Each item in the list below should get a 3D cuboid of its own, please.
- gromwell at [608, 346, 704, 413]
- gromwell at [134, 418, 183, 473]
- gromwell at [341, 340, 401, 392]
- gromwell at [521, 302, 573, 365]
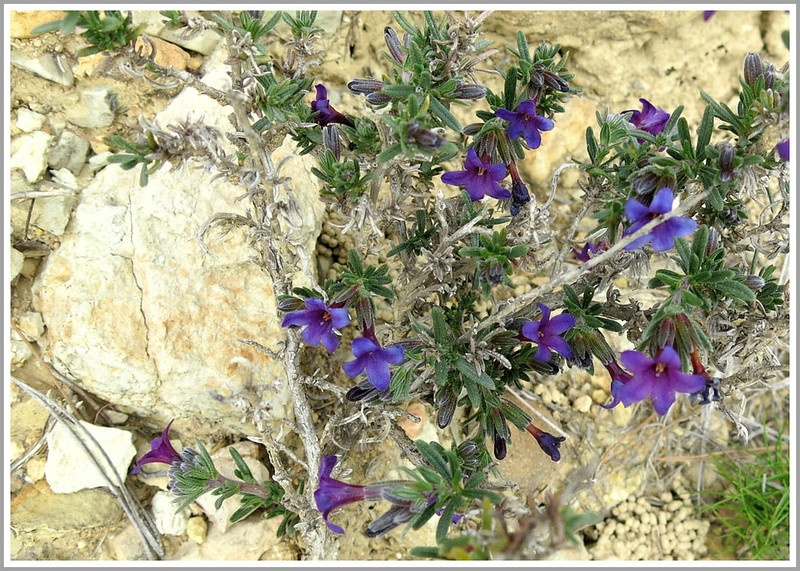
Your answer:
[{"bbox_3d":[1.299,0.479,4.046,0.397,0.216,0.262,0,59,1],"label":"gromwell"},{"bbox_3d":[-1.477,0.986,4.948,0.217,0.226,0.232,43,36,-22],"label":"gromwell"},{"bbox_3d":[-0.134,0.455,4.352,0.298,0.477,0.254,7,58,5],"label":"gromwell"},{"bbox_3d":[0.801,0.255,4.473,0.298,0.293,0.125,-52,33,3],"label":"gromwell"}]
